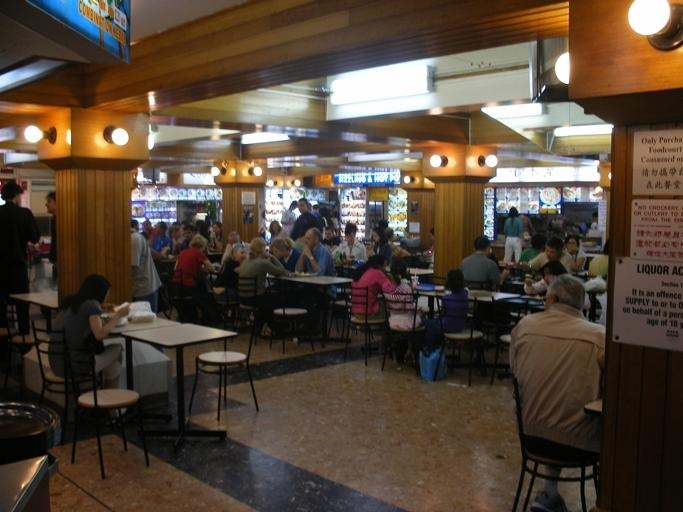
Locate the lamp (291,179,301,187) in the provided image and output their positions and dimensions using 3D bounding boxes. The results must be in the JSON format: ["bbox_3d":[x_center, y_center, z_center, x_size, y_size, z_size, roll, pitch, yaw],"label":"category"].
[{"bbox_3d":[-1.798,-3.063,24.300,0.340,0.373,0.084,-3,-4,25],"label":"lamp"}]

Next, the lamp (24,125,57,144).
[{"bbox_3d":[-3.681,-1.506,7.152,0.208,0.239,0.420,7,4,23],"label":"lamp"}]

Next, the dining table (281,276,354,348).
[{"bbox_3d":[-0.326,0.845,9.243,0.839,0.952,1.315,0,2,-44],"label":"dining table"}]

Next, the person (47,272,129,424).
[{"bbox_3d":[-2.435,0.870,5.676,0.592,1.355,0.762,-6,-4,36],"label":"person"}]

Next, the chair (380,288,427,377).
[{"bbox_3d":[0.820,0.952,7.843,0.554,1.146,0.839,1,6,5],"label":"chair"}]

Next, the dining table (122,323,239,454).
[{"bbox_3d":[-1.680,1.201,5.706,1.040,1.098,1.030,5,6,41],"label":"dining table"}]

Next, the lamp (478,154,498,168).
[{"bbox_3d":[2.732,-1.791,10.909,0.351,0.190,0.206,8,-1,32],"label":"lamp"}]

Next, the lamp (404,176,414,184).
[{"bbox_3d":[2.115,-2.445,18.531,0.235,0.267,0.186,7,-1,20],"label":"lamp"}]

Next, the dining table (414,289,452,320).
[{"bbox_3d":[1.202,0.608,7.861,0.388,0.392,0.393,2,5,37],"label":"dining table"}]

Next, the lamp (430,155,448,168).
[{"bbox_3d":[1.817,-1.822,10.878,0.223,0.264,0.253,15,20,30],"label":"lamp"}]

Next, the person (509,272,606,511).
[{"bbox_3d":[1.562,0.751,4.078,0.537,1.086,0.705,-5,8,-39],"label":"person"}]

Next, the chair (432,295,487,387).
[{"bbox_3d":[1.582,0.951,7.712,0.581,1.151,1.349,2,6,13],"label":"chair"}]

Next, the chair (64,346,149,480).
[{"bbox_3d":[-2.220,1.492,5.442,0.628,1.489,0.646,13,20,39],"label":"chair"}]

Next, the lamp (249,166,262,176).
[{"bbox_3d":[-2.318,-2.300,15.741,0.403,0.289,0.103,-4,7,-32],"label":"lamp"}]

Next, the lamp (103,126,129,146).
[{"bbox_3d":[-2.715,-1.462,7.035,0.292,0.231,0.169,-3,7,-25],"label":"lamp"}]

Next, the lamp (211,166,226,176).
[{"bbox_3d":[-3.358,-2.291,15.665,0.481,0.289,0.313,5,8,36],"label":"lamp"}]

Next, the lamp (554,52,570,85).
[{"bbox_3d":[1.561,-1.327,4.112,0.062,0.216,0.168,0,6,-4],"label":"lamp"}]
